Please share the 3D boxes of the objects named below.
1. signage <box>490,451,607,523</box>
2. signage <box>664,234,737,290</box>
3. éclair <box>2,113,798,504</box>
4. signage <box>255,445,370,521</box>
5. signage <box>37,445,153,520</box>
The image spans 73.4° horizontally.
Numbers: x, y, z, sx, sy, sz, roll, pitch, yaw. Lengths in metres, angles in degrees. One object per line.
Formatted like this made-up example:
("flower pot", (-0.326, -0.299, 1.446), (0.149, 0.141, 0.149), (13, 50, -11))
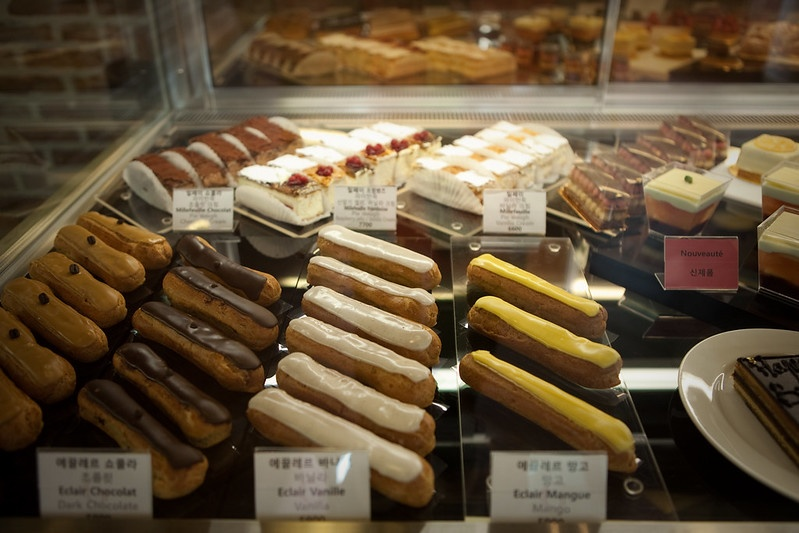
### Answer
("signage", (0.428, 0.635, 1.533), (0.334, 0.211, 0.056), (1, 23, 0))
("signage", (1.210, -0.015, 2.127), (0.249, 0.227, 0.060), (1, 2, 6))
("éclair", (-0.335, 0.282, 1.966), (2.380, 0.570, 1.061), (1, 23, -1))
("signage", (-0.259, 0.623, 1.524), (0.319, 0.212, 0.074), (-1, 5, -1))
("signage", (-0.880, 0.626, 1.556), (0.320, 0.213, 0.034), (2, 6, -4))
